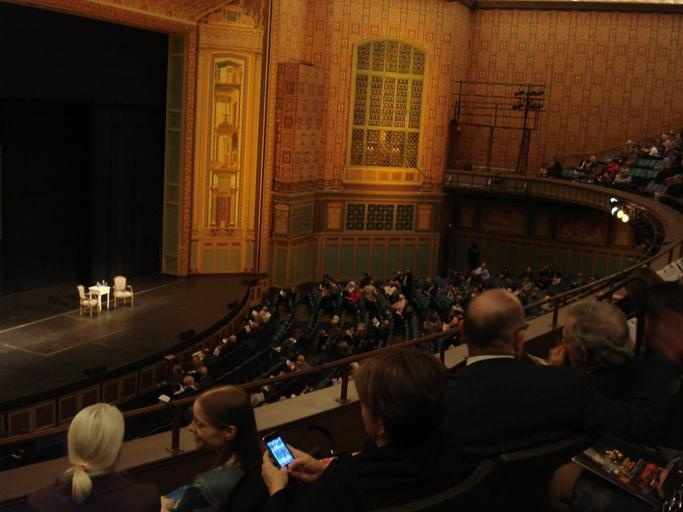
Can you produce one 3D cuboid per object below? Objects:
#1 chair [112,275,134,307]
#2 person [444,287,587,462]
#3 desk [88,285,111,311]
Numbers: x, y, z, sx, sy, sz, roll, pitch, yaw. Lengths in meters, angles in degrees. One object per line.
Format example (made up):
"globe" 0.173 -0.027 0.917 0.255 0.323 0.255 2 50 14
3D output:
"chair" -5.899 0.930 14.097 0.521 0.762 0.495 7 7 42
"person" 0.687 0.479 2.449 0.831 0.638 0.462 -5 9 20
"desk" -6.357 1.096 13.790 0.541 0.744 0.563 3 5 29
